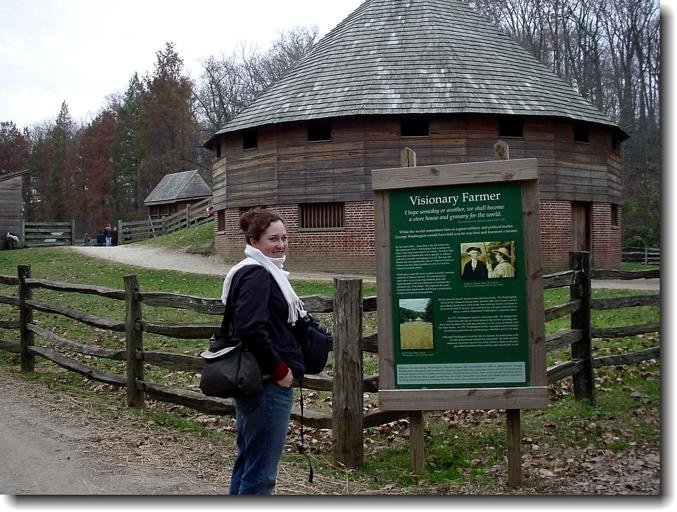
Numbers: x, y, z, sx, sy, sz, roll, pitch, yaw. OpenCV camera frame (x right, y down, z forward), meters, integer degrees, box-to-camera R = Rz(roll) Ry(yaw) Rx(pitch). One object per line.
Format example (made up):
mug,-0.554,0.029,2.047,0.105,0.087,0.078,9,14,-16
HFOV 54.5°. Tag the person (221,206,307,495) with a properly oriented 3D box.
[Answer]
person,-0.781,1.060,7.016,0.909,3.148,0.568,2,-1,-9

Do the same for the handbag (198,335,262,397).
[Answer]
handbag,-1.084,1.157,6.807,0.787,0.762,0.454,-2,-12,22
